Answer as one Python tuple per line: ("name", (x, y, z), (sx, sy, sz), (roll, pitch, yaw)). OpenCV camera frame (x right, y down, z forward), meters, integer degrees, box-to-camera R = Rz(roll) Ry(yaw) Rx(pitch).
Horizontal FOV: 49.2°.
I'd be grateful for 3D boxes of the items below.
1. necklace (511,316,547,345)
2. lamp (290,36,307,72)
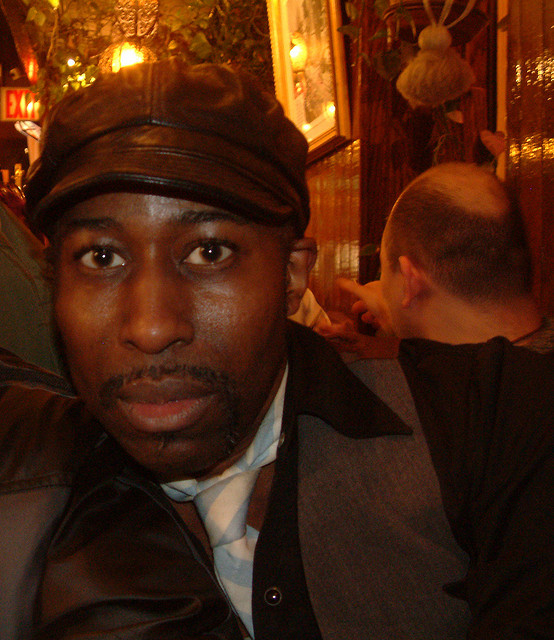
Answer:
("necklace", (0.649, 0.039, 1.552), (0.085, 0.020, 0.086), (-22, 14, 25))
("lamp", (0.095, -1.194, 2.720), (0.029, 0.149, 0.112), (-6, 3, -24))
